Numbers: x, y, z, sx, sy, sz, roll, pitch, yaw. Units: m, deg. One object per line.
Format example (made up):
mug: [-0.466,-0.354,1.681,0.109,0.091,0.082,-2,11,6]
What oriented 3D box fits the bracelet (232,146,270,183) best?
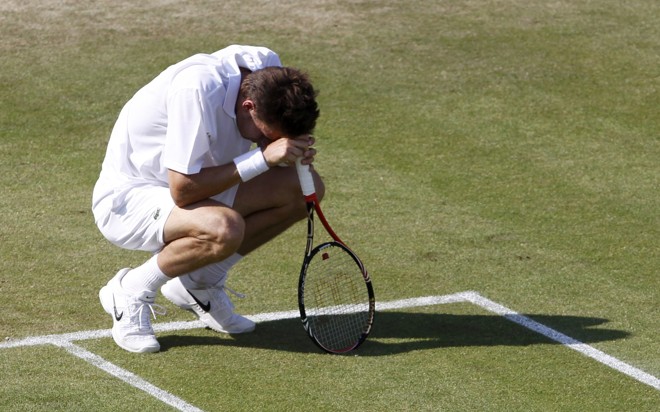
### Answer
bracelet: [-0.664,-0.331,9.185,0.263,0.178,0.197,-16,53,-4]
